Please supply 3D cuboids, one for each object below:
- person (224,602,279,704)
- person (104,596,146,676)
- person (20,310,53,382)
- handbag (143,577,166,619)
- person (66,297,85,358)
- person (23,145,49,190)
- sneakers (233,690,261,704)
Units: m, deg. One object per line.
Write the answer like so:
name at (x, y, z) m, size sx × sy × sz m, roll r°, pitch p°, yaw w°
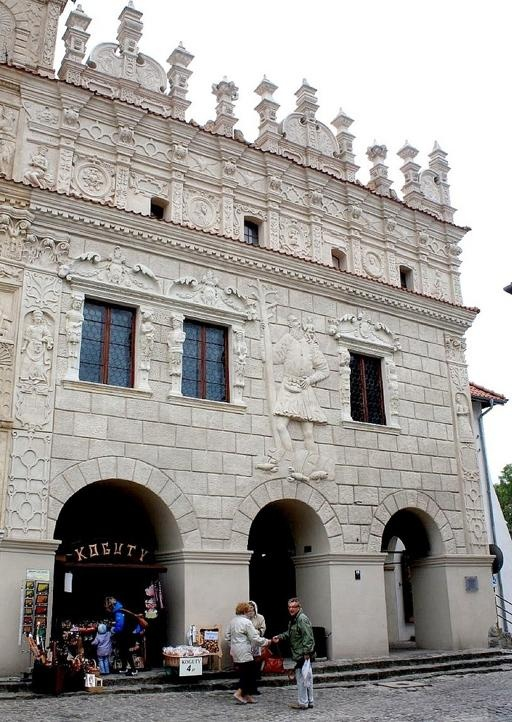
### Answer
person at (-0.127, 4.152, 9.952) m, size 0.548 × 1.351 × 1.033 m, roll -2°, pitch -18°, yaw -3°
person at (-2.244, 4.721, 12.148) m, size 0.709 × 1.201 × 1.246 m, roll -3°, pitch -18°, yaw 0°
person at (-3.865, -0.253, 12.397) m, size 0.167 × 1.363 × 0.557 m, roll -19°, pitch -24°, yaw 40°
handbag at (-1.893, 4.393, 12.904) m, size 0.303 × 0.700 × 0.576 m, roll -2°, pitch -18°, yaw -2°
person at (-3.363, -0.649, 12.941) m, size 0.326 × 1.213 × 0.141 m, roll 12°, pitch -24°, yaw -38°
person at (-4.253, -3.820, 13.695) m, size 0.201 × 0.995 × 0.505 m, roll -18°, pitch -24°, yaw 39°
sneakers at (-0.162, 4.837, 10.082) m, size 0.455 × 0.177 × 0.142 m, roll 2°, pitch -12°, yaw -9°
